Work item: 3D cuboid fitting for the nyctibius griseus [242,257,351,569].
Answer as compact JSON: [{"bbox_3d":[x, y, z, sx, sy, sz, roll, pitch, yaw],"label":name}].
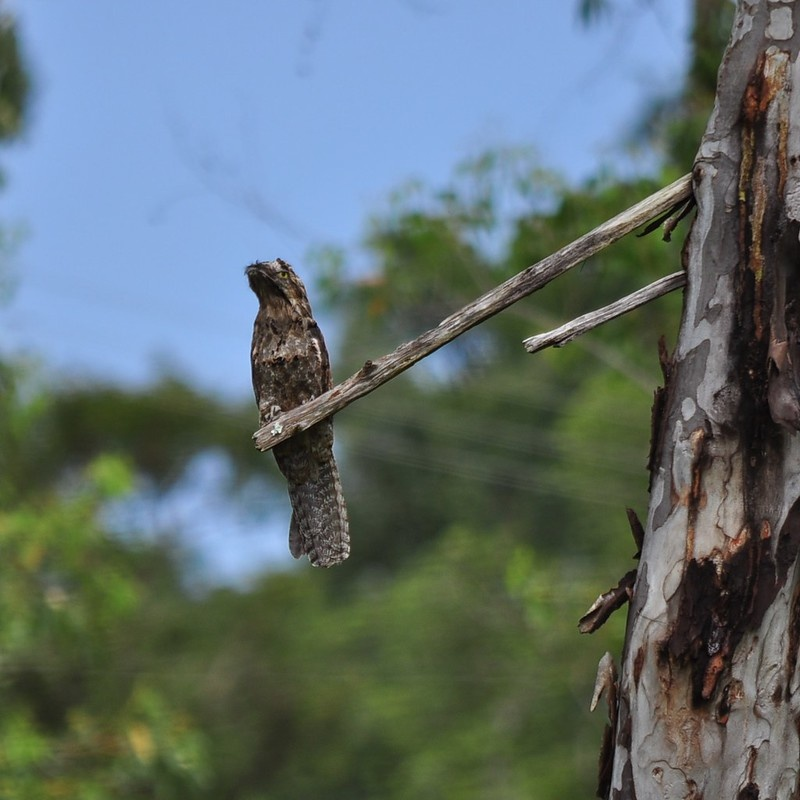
[{"bbox_3d":[-0.423,0.070,6.768,0.327,1.066,0.815,-6,-33,-3],"label":"nyctibius griseus"}]
